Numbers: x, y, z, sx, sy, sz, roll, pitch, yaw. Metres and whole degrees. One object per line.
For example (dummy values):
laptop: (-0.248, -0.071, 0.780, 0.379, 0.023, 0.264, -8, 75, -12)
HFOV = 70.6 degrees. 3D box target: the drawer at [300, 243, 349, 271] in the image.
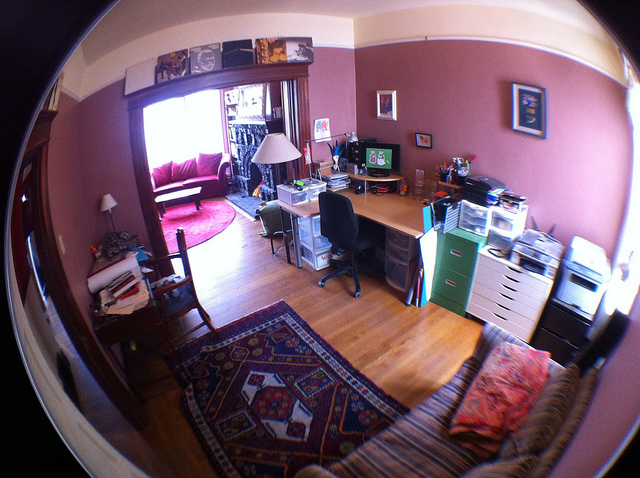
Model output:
drawer: (-0.001, 0.132, 3.357, 0.194, 0.092, 0.261, -20, 34, -35)

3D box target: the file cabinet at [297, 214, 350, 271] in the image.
file cabinet: (-0.019, -0.035, 3.395, 0.244, 0.412, 0.296, -18, 23, -30)

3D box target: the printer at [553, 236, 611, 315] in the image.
printer: (1.273, 0.107, 2.128, 0.178, 0.339, 0.341, 23, 56, 34)

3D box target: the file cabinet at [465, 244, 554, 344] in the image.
file cabinet: (0.998, 0.275, 2.349, 0.337, 0.415, 0.212, 28, 31, 30)

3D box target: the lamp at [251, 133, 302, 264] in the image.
lamp: (-0.327, -0.219, 3.216, 0.336, 1.003, 0.405, -2, 16, -15)

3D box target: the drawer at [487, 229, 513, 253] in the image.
drawer: (0.975, 0.008, 2.465, 0.096, 0.107, 0.149, -26, 37, -30)

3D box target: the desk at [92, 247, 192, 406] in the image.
desk: (-0.882, 0.447, 2.229, 0.324, 0.528, 0.717, -13, 27, -22)

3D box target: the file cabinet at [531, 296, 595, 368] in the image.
file cabinet: (1.101, 0.416, 2.045, 0.181, 0.358, 0.176, 28, 22, 29)

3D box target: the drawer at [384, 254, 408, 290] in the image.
drawer: (0.498, 0.212, 2.949, 0.101, 0.175, 0.172, -8, 25, -36)

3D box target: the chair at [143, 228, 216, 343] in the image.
chair: (-0.853, 0.301, 2.745, 0.327, 0.624, 0.364, -23, 32, -24)

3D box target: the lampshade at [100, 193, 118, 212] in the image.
lampshade: (-1.186, -0.204, 2.537, 0.101, 0.094, 0.098, -14, 19, -28)

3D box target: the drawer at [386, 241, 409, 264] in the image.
drawer: (0.494, 0.087, 2.911, 0.035, 0.109, 0.155, -6, 16, -25)

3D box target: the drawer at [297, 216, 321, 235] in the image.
drawer: (-0.077, -0.104, 3.254, 0.108, 0.151, 0.197, -14, 26, -29)

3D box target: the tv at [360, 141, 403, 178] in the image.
tv: (0.440, -0.594, 3.309, 0.365, 0.248, 0.105, 10, 22, 40)

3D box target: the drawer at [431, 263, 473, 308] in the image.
drawer: (0.797, 0.271, 2.693, 0.145, 0.224, 0.214, -7, 20, -31)

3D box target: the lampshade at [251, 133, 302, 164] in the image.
lampshade: (-0.300, -0.595, 3.055, 0.285, 0.205, 0.255, -4, 21, -30)

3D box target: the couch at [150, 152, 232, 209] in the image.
couch: (-1.446, -0.691, 5.251, 0.935, 0.529, 0.583, -12, 18, -20)

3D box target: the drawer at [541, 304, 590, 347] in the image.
drawer: (1.178, 0.399, 2.212, 0.203, 0.138, 0.191, 30, 14, 36)

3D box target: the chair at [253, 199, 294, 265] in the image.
chair: (-0.371, -0.039, 3.681, 0.260, 0.388, 0.315, -20, 37, -14)

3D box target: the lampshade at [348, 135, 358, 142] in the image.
lampshade: (0.249, -0.755, 3.392, 0.053, 0.031, 0.052, -35, 46, -22)

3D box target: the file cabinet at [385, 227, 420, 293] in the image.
file cabinet: (0.585, 0.131, 3.004, 0.274, 0.498, 0.252, -19, 23, -39)

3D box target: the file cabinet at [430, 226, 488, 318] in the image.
file cabinet: (0.806, 0.173, 2.603, 0.266, 0.530, 0.272, 25, 38, 37)

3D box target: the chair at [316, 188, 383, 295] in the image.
chair: (0.214, -0.009, 3.016, 0.455, 0.609, 0.440, -4, 18, -20)
